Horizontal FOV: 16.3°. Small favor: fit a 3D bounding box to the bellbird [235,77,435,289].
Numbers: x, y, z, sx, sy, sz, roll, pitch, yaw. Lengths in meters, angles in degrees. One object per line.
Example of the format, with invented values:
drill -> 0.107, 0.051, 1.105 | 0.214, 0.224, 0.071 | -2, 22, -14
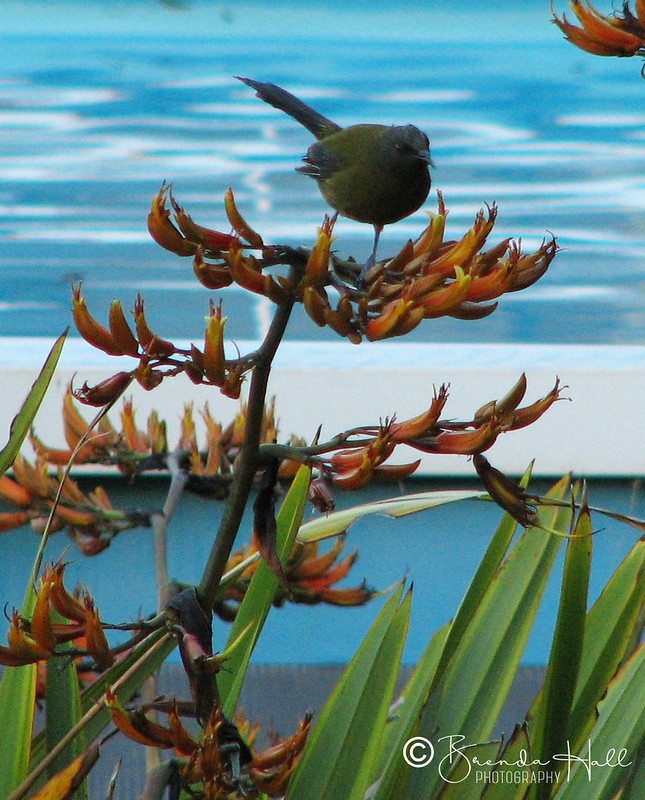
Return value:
bellbird -> 0.013, -0.240, 2.325 | 0.093, 0.160, 0.300 | -12, 31, -37
